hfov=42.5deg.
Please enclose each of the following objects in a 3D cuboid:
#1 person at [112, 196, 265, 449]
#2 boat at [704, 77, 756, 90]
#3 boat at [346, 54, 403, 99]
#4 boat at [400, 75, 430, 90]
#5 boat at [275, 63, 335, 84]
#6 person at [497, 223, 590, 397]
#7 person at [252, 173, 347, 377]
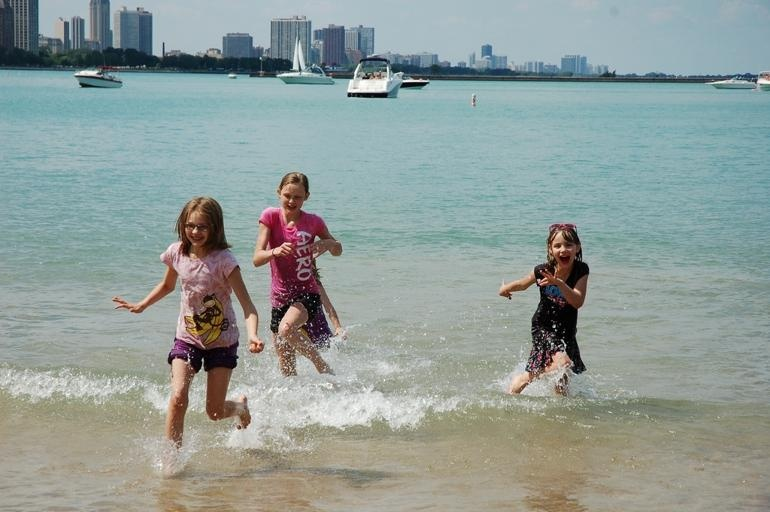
[{"bbox_3d":[-1.970,0.751,10.840,1.160,2.761,0.899,0,11,-6],"label":"person"},{"bbox_3d":[51.212,-25.398,145.284,5.685,1.838,15.371,4,10,19],"label":"boat"},{"bbox_3d":[-0.947,-15.289,84.586,3.936,3.569,4.441,1,10,3],"label":"boat"},{"bbox_3d":[3.424,-20.824,119.429,2.741,1.369,7.861,1,10,1],"label":"boat"},{"bbox_3d":[-11.233,-25.816,142.579,7.813,2.819,3.330,-4,16,-12],"label":"boat"},{"bbox_3d":[1.956,0.666,11.934,0.883,2.157,0.618,5,12,22],"label":"person"},{"bbox_3d":[-1.092,0.293,11.965,1.028,2.589,0.749,-6,13,-32],"label":"person"}]
